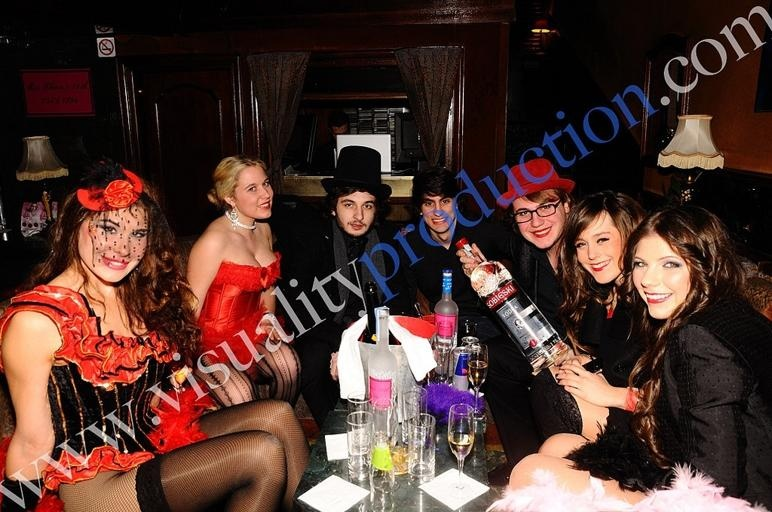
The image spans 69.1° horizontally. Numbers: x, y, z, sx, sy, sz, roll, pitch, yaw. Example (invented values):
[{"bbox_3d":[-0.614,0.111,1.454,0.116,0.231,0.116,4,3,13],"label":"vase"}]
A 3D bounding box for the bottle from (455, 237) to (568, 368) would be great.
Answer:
[{"bbox_3d":[0.793,0.299,3.463,0.252,0.944,0.275,-36,-14,-11],"label":"bottle"}]

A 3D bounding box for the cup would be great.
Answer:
[{"bbox_3d":[0.042,0.896,2.793,0.373,0.462,0.434,0,-5,2],"label":"cup"}]

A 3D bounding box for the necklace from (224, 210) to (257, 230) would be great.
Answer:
[{"bbox_3d":[-0.985,-0.231,3.741,0.133,0.132,0.045,-26,12,16],"label":"necklace"}]

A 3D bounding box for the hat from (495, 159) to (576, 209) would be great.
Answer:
[{"bbox_3d":[1.006,-0.514,3.696,0.323,0.152,0.384,-26,-3,34],"label":"hat"}]

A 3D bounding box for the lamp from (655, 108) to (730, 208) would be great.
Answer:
[{"bbox_3d":[2.797,-0.873,5.112,0.474,0.776,0.516,8,13,41],"label":"lamp"}]

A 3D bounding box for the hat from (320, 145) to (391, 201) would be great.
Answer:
[{"bbox_3d":[-0.193,-0.573,4.045,0.381,0.232,0.415,4,1,7],"label":"hat"}]

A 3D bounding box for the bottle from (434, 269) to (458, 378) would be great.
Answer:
[{"bbox_3d":[0.333,0.375,3.160,0.125,0.628,0.234,0,10,5],"label":"bottle"}]
